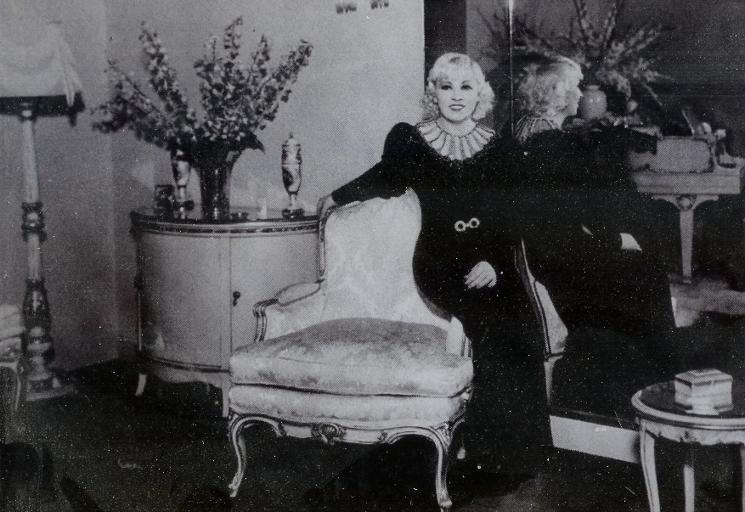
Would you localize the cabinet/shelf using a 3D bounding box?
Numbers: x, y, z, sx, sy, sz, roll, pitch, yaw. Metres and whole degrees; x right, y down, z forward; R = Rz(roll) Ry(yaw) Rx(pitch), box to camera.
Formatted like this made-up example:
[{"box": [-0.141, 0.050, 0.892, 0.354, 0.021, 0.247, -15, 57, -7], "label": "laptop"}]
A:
[{"box": [-0.679, 0.075, 4.046, 1.280, 1.256, 0.853, 1, 12, -1], "label": "cabinet/shelf"}]

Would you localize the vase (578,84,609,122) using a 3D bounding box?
[{"box": [1.017, -0.708, 3.592, 0.145, 0.184, 0.147, -11, 17, 10], "label": "vase"}]

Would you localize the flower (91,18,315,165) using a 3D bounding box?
[{"box": [-0.781, -0.742, 3.353, 0.684, 0.525, 0.767, 0, 3, -5], "label": "flower"}]
